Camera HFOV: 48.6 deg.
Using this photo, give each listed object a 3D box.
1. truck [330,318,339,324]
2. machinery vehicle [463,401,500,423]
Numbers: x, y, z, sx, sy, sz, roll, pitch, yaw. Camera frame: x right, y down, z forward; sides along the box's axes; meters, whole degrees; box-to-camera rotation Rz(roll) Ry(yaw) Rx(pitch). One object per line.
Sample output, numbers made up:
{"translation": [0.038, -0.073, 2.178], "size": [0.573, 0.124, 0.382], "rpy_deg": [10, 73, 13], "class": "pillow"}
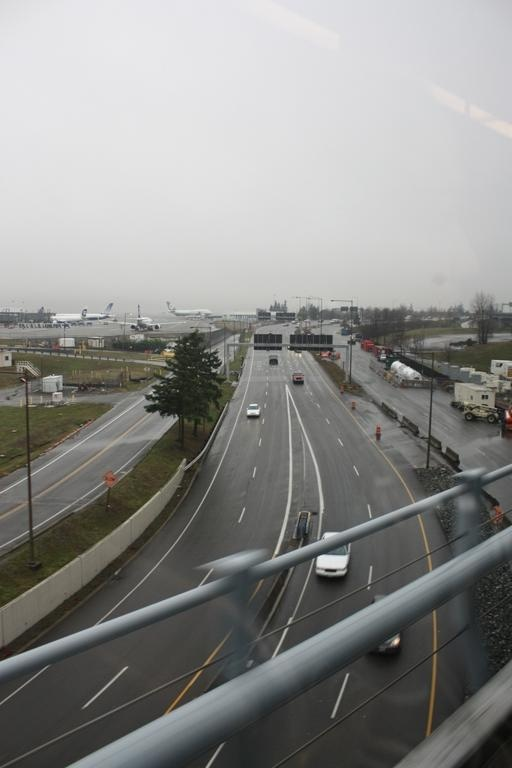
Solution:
{"translation": [12.845, -10.422, 92.360], "size": [1.223, 1.626, 5.004], "rpy_deg": [0, 5, 11], "class": "truck"}
{"translation": [7.986, 1.063, 20.270], "size": [1.190, 0.440, 1.523], "rpy_deg": [4, 10, 23], "class": "machinery vehicle"}
